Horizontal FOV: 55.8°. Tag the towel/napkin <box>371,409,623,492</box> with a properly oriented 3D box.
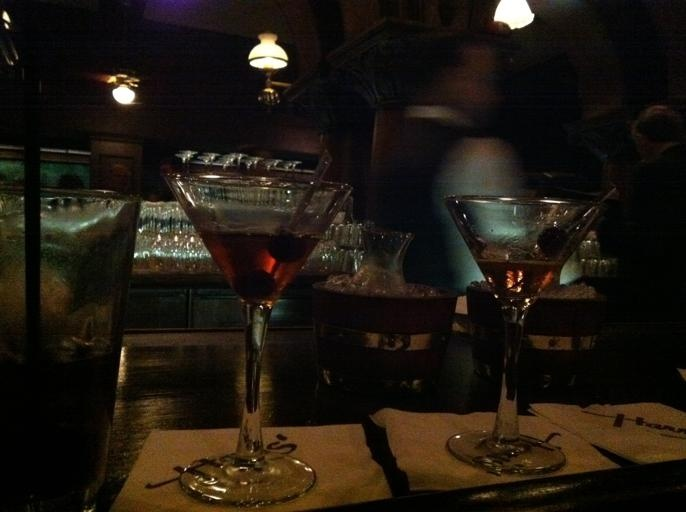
[{"bbox_3d":[0.215,0.281,0.963,0.316,0.083,0.201,3,1,-15],"label":"towel/napkin"}]

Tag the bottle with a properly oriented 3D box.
[{"bbox_3d":[0.105,0.011,1.241,0.146,0.102,0.109,2,1,6],"label":"bottle"}]

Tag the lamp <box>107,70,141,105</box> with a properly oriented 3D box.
[{"bbox_3d":[-1.591,-1.235,4.752,0.284,0.158,0.223,2,13,3],"label":"lamp"}]
